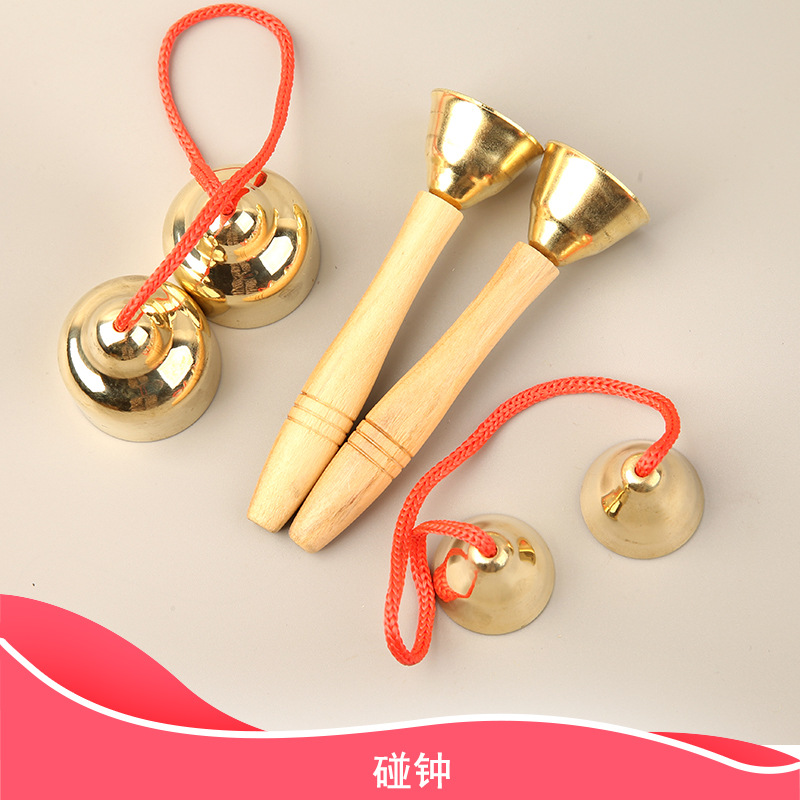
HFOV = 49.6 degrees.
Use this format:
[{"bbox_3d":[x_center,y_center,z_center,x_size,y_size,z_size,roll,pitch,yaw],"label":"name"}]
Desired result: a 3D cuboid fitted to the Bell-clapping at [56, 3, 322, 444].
[{"bbox_3d":[-0.163,-0.153,0.830,0.191,0.142,0.371,17,87,-1],"label":"Bell-clapping"}]
